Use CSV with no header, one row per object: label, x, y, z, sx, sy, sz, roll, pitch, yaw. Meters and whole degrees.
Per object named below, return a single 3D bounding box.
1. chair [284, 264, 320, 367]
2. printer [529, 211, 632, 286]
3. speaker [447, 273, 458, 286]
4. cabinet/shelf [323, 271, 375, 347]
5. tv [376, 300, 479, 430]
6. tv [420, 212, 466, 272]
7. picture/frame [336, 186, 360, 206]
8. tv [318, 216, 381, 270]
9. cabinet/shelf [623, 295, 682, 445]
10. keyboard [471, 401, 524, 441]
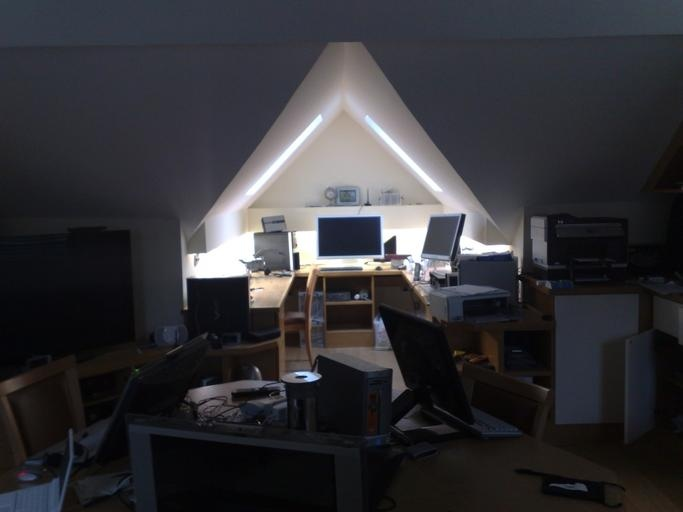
chair,-0.480,0.604,5.299,0.496,0.850,0.521,-1,0,7
printer,1.804,-0.037,4.094,0.616,0.526,0.504,-1,-5,0
speaker,0.880,0.188,4.286,0.079,0.157,0.110,1,4,3
cabinet/shelf,0.068,0.589,6.054,0.772,1.149,0.570,-1,0,-1
tv,0.306,0.514,2.547,0.279,0.502,0.690,-12,5,-16
tv,0.932,-0.160,4.964,0.075,0.456,0.632,14,-1,-15
picture/frame,0.069,-0.708,6.437,0.345,0.300,0.192,0,-2,-1
tv,0.083,-0.216,6.095,0.739,0.490,0.175,-2,3,-7
cabinet/shelf,2.249,0.815,3.917,0.331,1.053,0.392,0,4,28
keyboard,0.711,0.683,2.395,0.177,0.374,0.073,2,40,20
